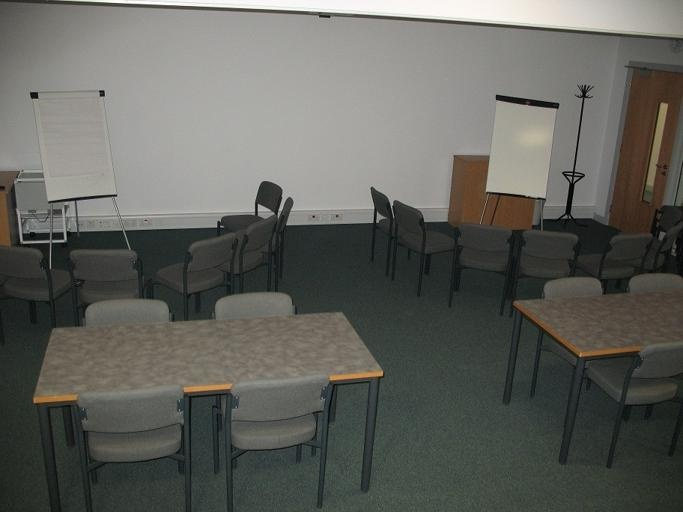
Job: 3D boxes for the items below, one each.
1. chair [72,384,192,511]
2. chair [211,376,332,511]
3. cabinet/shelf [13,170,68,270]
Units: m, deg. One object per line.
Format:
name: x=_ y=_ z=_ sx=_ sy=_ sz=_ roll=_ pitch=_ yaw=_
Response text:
chair: x=-1.251 y=1.156 z=3.192 sx=0.619 sy=0.859 sz=0.525 roll=-3 pitch=31 yaw=-14
chair: x=-0.440 y=1.189 z=3.337 sx=0.614 sy=1.008 sz=0.633 roll=-3 pitch=29 yaw=-12
cabinet/shelf: x=-3.912 y=-0.601 z=6.999 sx=0.529 sy=0.890 sz=0.517 roll=-4 pitch=20 yaw=-21
